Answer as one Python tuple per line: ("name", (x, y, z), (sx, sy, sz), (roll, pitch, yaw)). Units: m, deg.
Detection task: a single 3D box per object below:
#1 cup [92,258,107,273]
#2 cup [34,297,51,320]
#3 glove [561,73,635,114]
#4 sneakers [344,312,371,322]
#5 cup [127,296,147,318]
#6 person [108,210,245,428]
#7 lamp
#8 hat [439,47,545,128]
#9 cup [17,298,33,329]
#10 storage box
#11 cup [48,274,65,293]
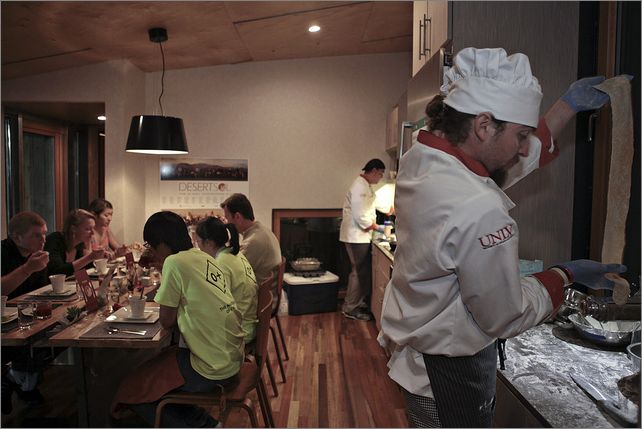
("cup", (-1.886, 0.443, 4.070), (0.082, 0.102, 0.132), (-1, -9, 11))
("cup", (-1.817, 0.628, 3.124), (0.106, 0.131, 0.108), (0, 0, 0))
("glove", (1.427, -0.626, 2.447), (0.272, 0.199, 0.105), (-3, -11, -9))
("sneakers", (0.426, 1.176, 5.392), (0.279, 0.126, 0.108), (1, 4, 1))
("cup", (-1.204, 0.606, 3.139), (0.108, 0.125, 0.116), (3, 7, 0))
("person", (-0.853, 0.666, 2.920), (0.691, 1.253, 0.554), (3, 11, 9))
("lamp", (-1.588, -1.188, 4.681), (0.504, 1.230, 1.321), (-1, 12, -13))
("hat", (0.753, -0.553, 2.129), (0.387, 0.284, 0.337), (5, 24, 15))
("cup", (-1.890, 0.644, 3.012), (0.109, 0.203, 0.111), (1, 3, 0))
("storage box", (-0.095, 0.946, 5.494), (0.474, 0.331, 0.498), (-1, 4, -10))
("cup", (-1.935, 0.503, 3.483), (0.105, 0.129, 0.116), (1, 11, -20))
